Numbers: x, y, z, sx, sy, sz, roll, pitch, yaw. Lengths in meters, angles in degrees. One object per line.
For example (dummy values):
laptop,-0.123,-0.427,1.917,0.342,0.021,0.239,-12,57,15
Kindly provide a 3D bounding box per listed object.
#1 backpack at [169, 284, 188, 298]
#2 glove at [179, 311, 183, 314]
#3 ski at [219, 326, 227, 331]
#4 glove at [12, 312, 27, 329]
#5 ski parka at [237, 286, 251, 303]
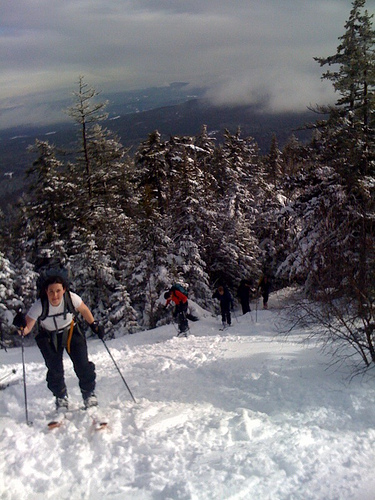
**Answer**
backpack,-0.273,1.242,13.792,0.530,0.377,0.289,1,4,26
glove,-0.208,1.963,14.098,0.104,0.096,0.025,-7,7,-11
ski,1.186,2.655,15.158,0.168,0.037,0.679,0,5,17
glove,-2.565,1.055,6.867,0.179,0.243,0.097,-3,41,8
ski parka,2.383,1.883,18.983,0.440,0.830,0.843,-1,4,6
